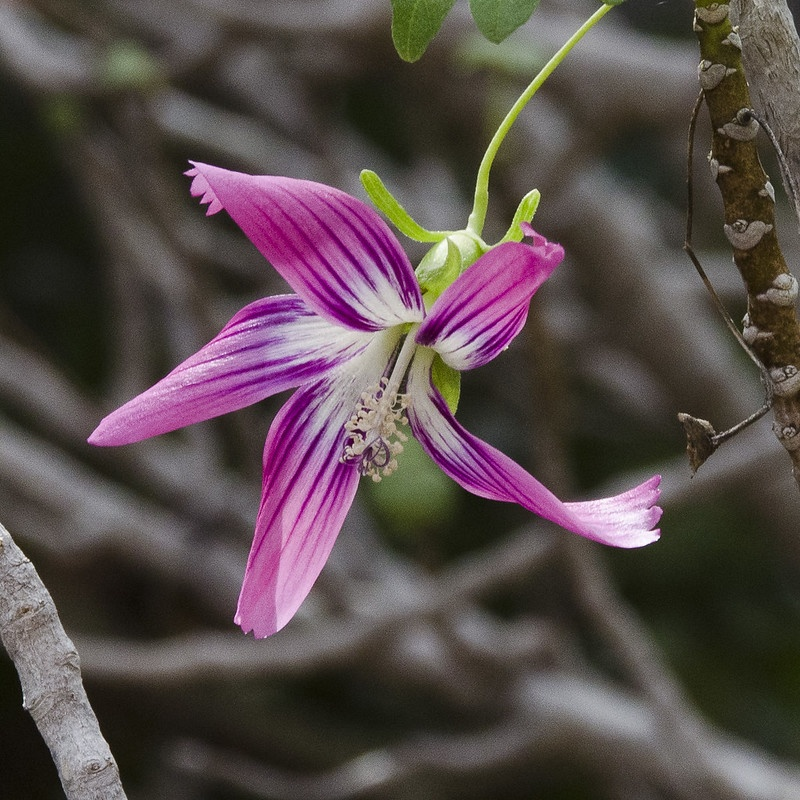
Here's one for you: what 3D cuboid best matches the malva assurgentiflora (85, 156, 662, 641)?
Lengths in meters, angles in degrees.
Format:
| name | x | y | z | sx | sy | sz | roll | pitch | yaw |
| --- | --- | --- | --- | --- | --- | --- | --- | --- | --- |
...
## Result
| name | x | y | z | sx | sy | sz | roll | pitch | yaw |
| --- | --- | --- | --- | --- | --- | --- | --- | --- | --- |
| malva assurgentiflora | -0.045 | -0.009 | 0.853 | 0.315 | 0.233 | 0.330 | -23 | 80 | -5 |
